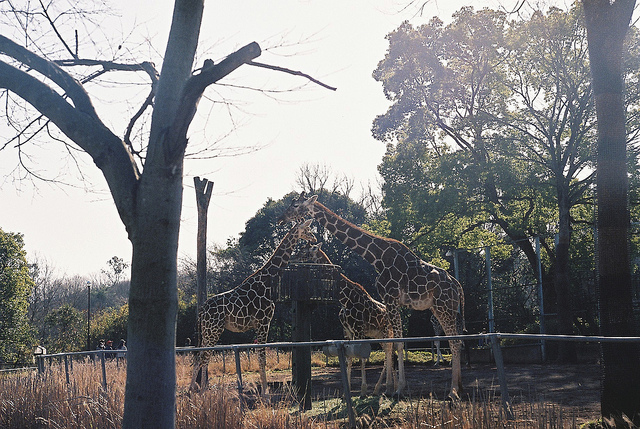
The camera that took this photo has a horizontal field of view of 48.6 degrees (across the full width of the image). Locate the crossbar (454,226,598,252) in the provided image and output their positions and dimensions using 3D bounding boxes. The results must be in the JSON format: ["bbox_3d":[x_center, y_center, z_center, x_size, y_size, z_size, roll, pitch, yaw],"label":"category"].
[{"bbox_3d":[8.947,1.029,30.905,5.507,0.227,0.092,-13,10,-18],"label":"crossbar"}]
